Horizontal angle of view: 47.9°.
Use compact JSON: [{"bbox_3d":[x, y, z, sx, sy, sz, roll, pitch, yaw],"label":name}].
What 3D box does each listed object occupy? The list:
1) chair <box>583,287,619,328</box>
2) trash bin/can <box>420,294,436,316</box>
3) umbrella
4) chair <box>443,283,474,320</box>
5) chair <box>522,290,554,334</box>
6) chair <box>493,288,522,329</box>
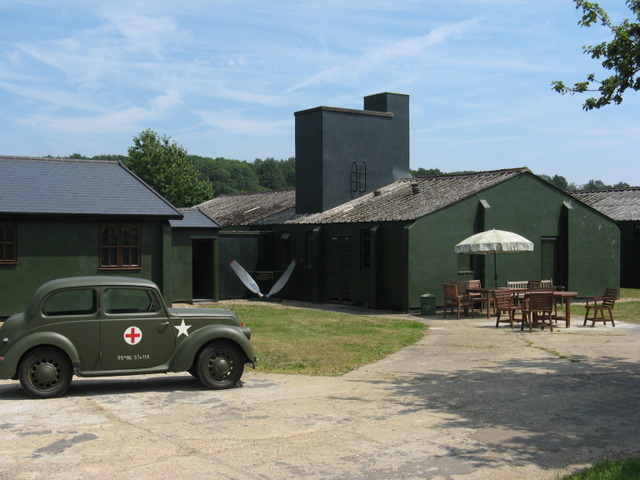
[{"bbox_3d":[8.285,2.019,21.504,0.889,1.043,0.883,1,-2,-22],"label":"chair"},{"bbox_3d":[3.531,2.166,24.160,0.612,0.665,0.599,-1,2,-29],"label":"trash bin/can"},{"bbox_3d":[5.779,0.380,23.455,2.283,1.888,2.237,-2,1,-25],"label":"umbrella"},{"bbox_3d":[4.502,1.972,23.402,0.766,0.965,0.748,3,-2,-33],"label":"chair"},{"bbox_3d":[6.047,1.979,20.122,0.948,1.093,0.981,-3,-4,37],"label":"chair"},{"bbox_3d":[5.783,2.042,21.938,0.842,1.015,0.835,-1,2,-22],"label":"chair"}]
